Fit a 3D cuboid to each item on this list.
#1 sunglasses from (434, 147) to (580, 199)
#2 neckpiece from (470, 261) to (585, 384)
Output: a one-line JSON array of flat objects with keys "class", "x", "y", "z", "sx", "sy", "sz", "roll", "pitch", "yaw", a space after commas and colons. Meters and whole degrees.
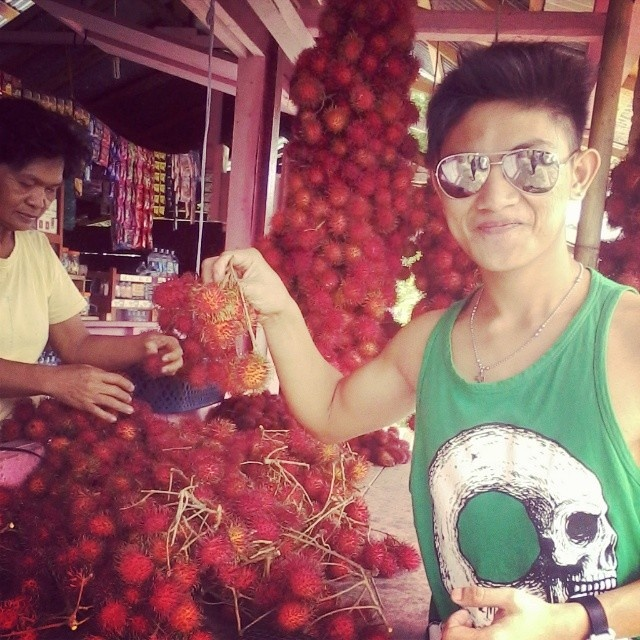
[{"class": "sunglasses", "x": 0.263, "y": -0.204, "z": 0.792, "sx": 0.093, "sy": 0.029, "sz": 0.100, "roll": -6, "pitch": -8, "yaw": -3}, {"class": "neckpiece", "x": 0.353, "y": 0.029, "z": 0.956, "sx": 0.029, "sy": 0.208, "sz": 0.158, "roll": 16, "pitch": 19, "yaw": -27}]
